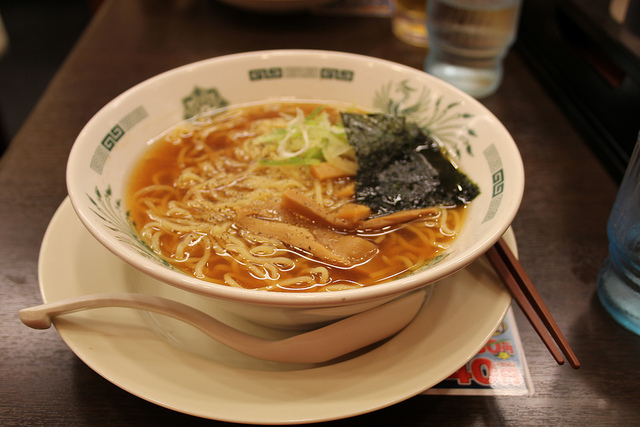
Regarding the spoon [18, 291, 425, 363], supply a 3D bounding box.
[{"bbox_3d":[-0.221,0.291,1.221,1.087,0.200,0.167,0,108,-3],"label":"spoon"}]
